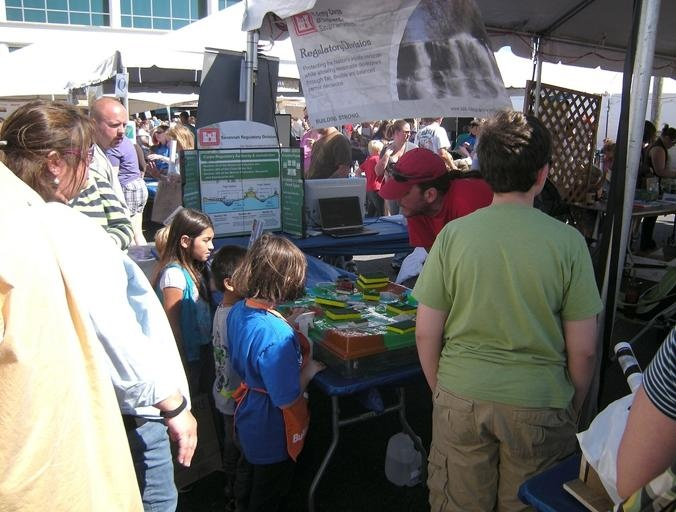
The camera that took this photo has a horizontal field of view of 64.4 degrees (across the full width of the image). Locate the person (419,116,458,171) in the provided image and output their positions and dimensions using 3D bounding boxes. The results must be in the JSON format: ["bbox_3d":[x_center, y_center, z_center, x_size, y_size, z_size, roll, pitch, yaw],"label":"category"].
[{"bbox_3d":[1.314,-1.557,6.891,0.225,0.343,0.771,-6,-21,32],"label":"person"}]

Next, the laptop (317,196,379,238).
[{"bbox_3d":[0.021,-0.352,4.671,0.456,0.332,0.343,-6,12,-32],"label":"laptop"}]

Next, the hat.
[{"bbox_3d":[0.386,-0.447,2.848,0.395,0.214,0.293,-12,19,-4],"label":"hat"}]

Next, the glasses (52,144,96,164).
[{"bbox_3d":[-0.872,-0.332,1.748,0.092,0.033,0.097,10,18,16],"label":"glasses"}]
